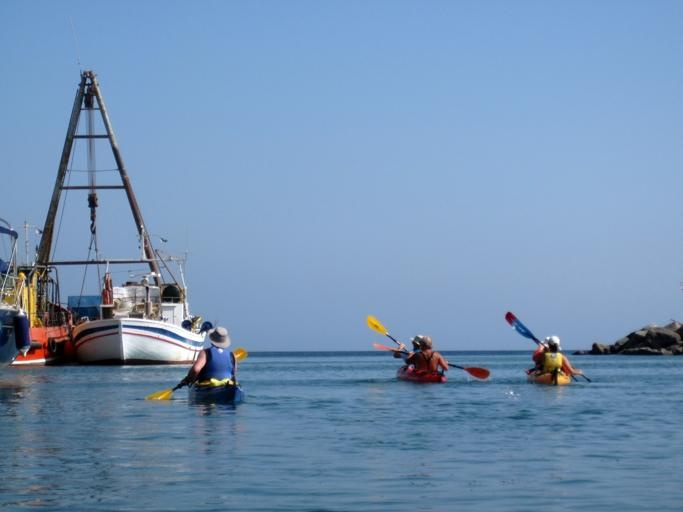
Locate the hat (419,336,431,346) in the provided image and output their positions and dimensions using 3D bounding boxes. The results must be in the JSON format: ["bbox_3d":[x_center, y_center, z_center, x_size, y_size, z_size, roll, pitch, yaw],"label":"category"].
[{"bbox_3d":[3.258,3.335,50.119,0.405,0.513,0.909,1,6,0],"label":"hat"}]
